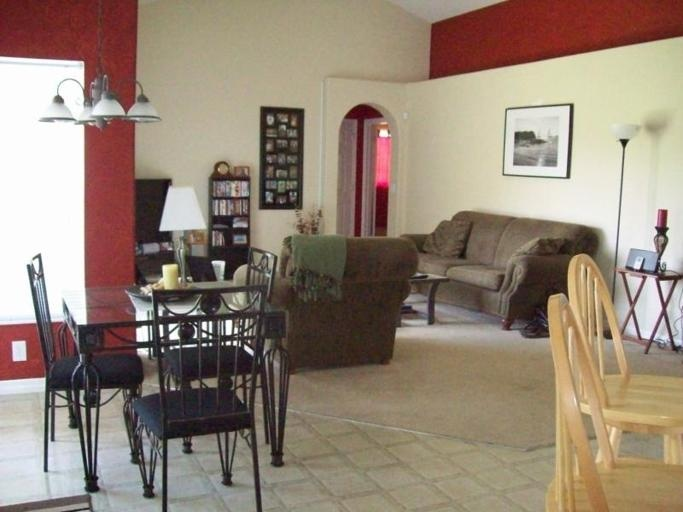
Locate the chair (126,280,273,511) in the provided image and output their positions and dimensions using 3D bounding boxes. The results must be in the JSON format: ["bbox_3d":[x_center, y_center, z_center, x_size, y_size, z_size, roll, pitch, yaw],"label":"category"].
[{"bbox_3d":[-0.824,0.638,3.347,0.743,1.222,1.446,-1,10,-13],"label":"chair"}]

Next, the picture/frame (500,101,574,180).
[{"bbox_3d":[2.578,-1.495,7.545,0.193,0.932,1.129,-3,11,-23],"label":"picture/frame"}]

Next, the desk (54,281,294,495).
[{"bbox_3d":[-0.974,0.635,3.645,1.209,0.833,1.144,11,-2,-23],"label":"desk"}]

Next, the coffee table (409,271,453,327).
[{"bbox_3d":[1.009,0.492,6.600,0.543,0.529,0.553,1,1,28],"label":"coffee table"}]

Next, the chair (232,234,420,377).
[{"bbox_3d":[-0.111,0.312,5.202,1.747,1.316,1.073,-1,8,-17],"label":"chair"}]

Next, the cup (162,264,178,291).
[{"bbox_3d":[-1.066,0.138,3.578,0.120,0.205,0.122,3,11,-1],"label":"cup"}]

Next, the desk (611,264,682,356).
[{"bbox_3d":[3.110,0.552,5.763,0.492,0.924,0.726,-5,10,-24],"label":"desk"}]

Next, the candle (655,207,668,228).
[{"bbox_3d":[3.216,-0.374,5.740,0.086,0.180,0.099,6,11,23],"label":"candle"}]

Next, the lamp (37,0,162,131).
[{"bbox_3d":[-1.629,-1.318,3.724,0.625,0.966,1.294,-4,11,-27],"label":"lamp"}]

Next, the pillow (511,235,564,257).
[{"bbox_3d":[2.276,-0.107,6.449,0.712,0.188,0.234,-2,10,-20],"label":"pillow"}]
